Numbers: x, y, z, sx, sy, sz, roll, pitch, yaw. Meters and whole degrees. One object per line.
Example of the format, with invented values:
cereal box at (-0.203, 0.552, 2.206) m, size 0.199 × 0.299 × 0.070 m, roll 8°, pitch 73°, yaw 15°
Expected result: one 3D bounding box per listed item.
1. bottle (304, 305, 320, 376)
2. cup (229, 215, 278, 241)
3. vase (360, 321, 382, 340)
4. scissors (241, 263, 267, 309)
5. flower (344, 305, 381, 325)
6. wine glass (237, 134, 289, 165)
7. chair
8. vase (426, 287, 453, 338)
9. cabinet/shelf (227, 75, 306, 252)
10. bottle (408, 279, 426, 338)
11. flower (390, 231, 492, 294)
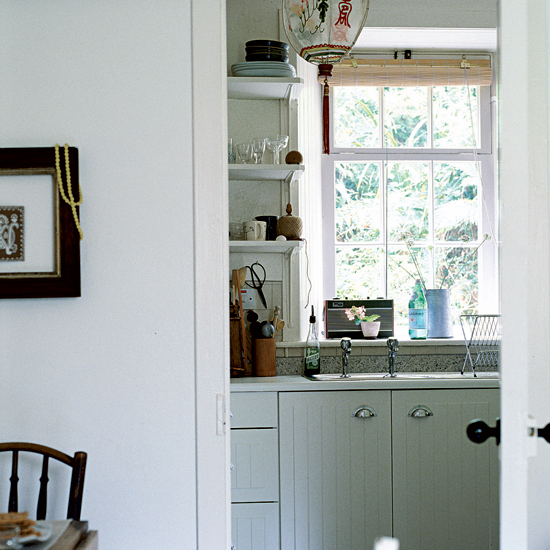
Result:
bottle at (0.174, 0.307, 3.898) m, size 0.076 × 0.331 × 0.237 m, roll -1°, pitch -3°, yaw 2°
cup at (-0.099, -0.198, 3.686) m, size 0.180 × 0.158 × 0.116 m, roll 0°, pitch -1°, yaw -4°
vase at (0.456, 0.267, 3.917) m, size 0.069 × 0.066 × 0.078 m, roll -2°, pitch -4°, yaw 17°
scissors at (-0.083, 0.041, 3.877) m, size 0.126 × 0.229 × 0.028 m, roll -6°, pitch -35°, yaw -22°
flower at (0.425, 0.195, 3.954) m, size 0.171 × 0.092 × 0.109 m, roll -2°, pitch -3°, yaw 3°
wine glass at (-0.053, -0.549, 3.657) m, size 0.196 × 0.176 × 0.146 m, roll -3°, pitch -2°, yaw 25°
chair at (-0.673, 0.593, 2.349) m, size 0.252 × 0.235 × 0.266 m, roll 0°, pitch -3°, yaw -15°
vase at (0.824, 0.227, 4.107) m, size 0.141 × 0.266 × 0.153 m, roll -4°, pitch -32°, yaw 18°
cabinet/shelf at (-0.058, -0.511, 3.750) m, size 0.236 × 0.854 × 0.710 m, roll 0°, pitch 7°, yaw 5°
bottle at (0.707, 0.170, 4.056) m, size 0.082 × 0.292 × 0.079 m, roll -1°, pitch -3°, yaw 0°
flower at (0.941, -0.087, 4.244) m, size 0.411 × 0.185 × 0.442 m, roll 27°, pitch 10°, yaw 29°
